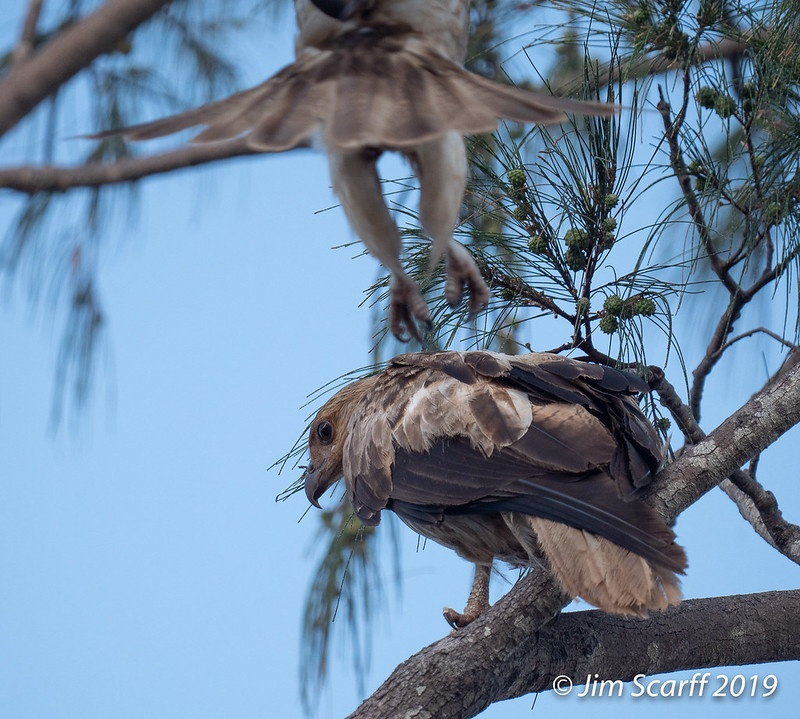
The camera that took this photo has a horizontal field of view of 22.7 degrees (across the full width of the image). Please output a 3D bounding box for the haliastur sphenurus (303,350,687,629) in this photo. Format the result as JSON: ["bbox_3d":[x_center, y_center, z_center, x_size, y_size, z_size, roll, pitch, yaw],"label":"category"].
[{"bbox_3d":[0.292,0.304,5.107,0.982,0.782,0.522,-11,-14,40],"label":"haliastur sphenurus"}]
